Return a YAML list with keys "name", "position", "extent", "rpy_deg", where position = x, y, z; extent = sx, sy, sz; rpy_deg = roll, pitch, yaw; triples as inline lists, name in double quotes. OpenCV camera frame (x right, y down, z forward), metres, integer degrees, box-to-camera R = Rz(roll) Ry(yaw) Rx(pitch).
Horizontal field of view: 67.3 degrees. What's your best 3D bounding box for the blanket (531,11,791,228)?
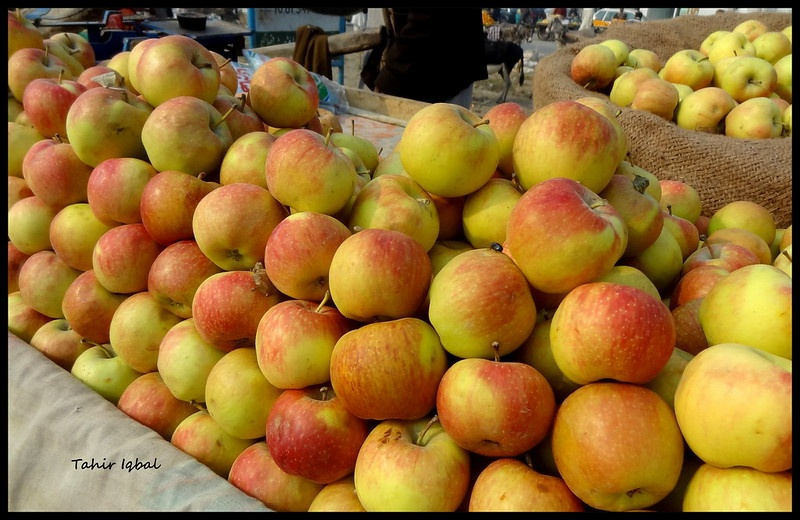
- name: "blanket"
  position: [1.663, -0.884, 3.680]
  extent: [1.602, 0.731, 1.811]
  rpy_deg: [-9, 28, -1]
